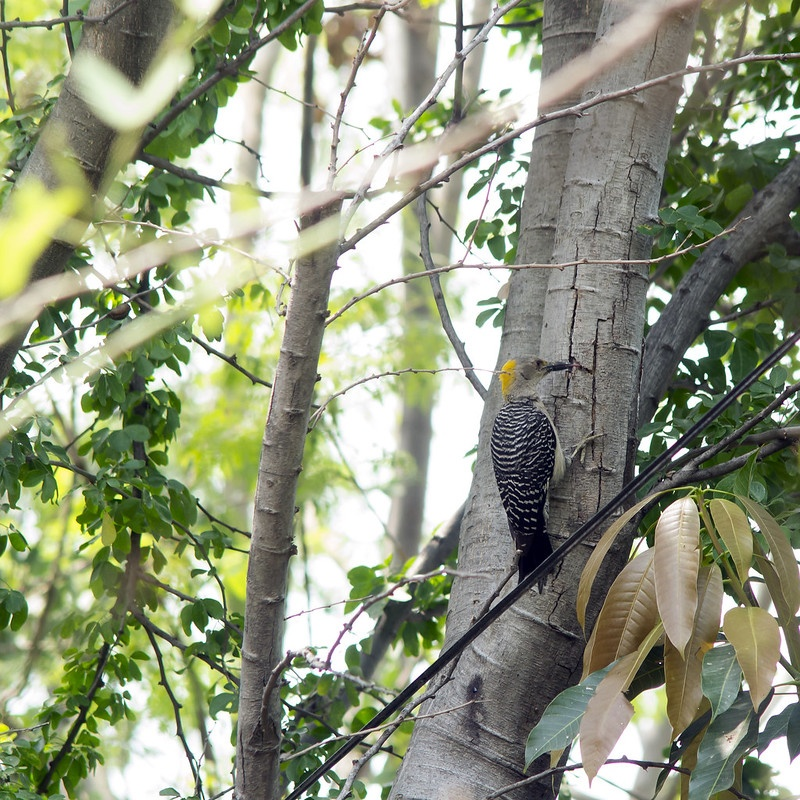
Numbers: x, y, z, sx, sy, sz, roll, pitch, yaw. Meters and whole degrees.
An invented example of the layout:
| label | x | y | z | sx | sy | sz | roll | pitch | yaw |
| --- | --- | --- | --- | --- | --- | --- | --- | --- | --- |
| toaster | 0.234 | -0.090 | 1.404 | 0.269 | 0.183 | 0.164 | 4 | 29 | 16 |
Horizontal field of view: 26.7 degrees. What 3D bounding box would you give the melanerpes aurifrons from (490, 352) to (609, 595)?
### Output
| label | x | y | z | sx | sy | sz | roll | pitch | yaw |
| --- | --- | --- | --- | --- | --- | --- | --- | --- | --- |
| melanerpes aurifrons | 0.507 | 0.134 | 6.482 | 0.262 | 1.154 | 0.585 | 21 | -60 | -15 |
